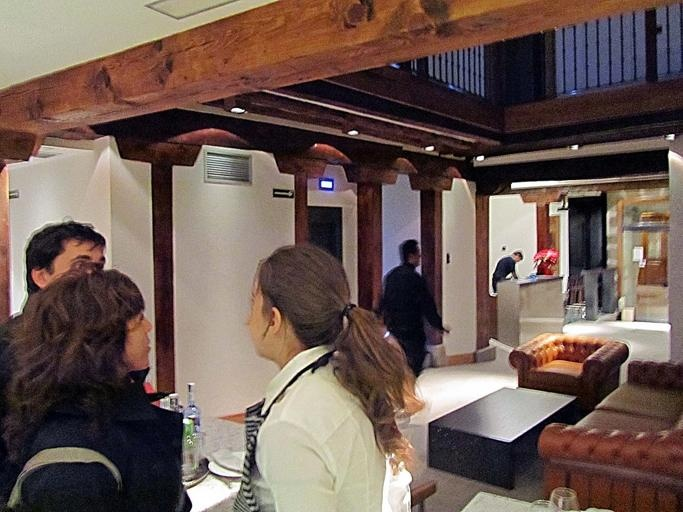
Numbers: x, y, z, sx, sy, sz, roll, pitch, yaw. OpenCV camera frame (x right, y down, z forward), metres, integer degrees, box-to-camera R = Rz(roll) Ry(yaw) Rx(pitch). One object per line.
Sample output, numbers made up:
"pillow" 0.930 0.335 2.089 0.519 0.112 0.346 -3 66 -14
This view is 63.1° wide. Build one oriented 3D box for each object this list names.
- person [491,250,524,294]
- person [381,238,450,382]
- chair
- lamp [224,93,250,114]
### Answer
"person" 2.934 0.347 9.828 0.524 0.951 0.345 9 19 0
"person" 0.792 0.685 6.167 0.578 1.864 0.637 22 37 39
"chair" 2.508 1.229 6.148 1.042 0.605 0.809 4 7 41
"lamp" -0.956 -1.319 4.892 0.165 0.122 0.230 -10 -3 38
